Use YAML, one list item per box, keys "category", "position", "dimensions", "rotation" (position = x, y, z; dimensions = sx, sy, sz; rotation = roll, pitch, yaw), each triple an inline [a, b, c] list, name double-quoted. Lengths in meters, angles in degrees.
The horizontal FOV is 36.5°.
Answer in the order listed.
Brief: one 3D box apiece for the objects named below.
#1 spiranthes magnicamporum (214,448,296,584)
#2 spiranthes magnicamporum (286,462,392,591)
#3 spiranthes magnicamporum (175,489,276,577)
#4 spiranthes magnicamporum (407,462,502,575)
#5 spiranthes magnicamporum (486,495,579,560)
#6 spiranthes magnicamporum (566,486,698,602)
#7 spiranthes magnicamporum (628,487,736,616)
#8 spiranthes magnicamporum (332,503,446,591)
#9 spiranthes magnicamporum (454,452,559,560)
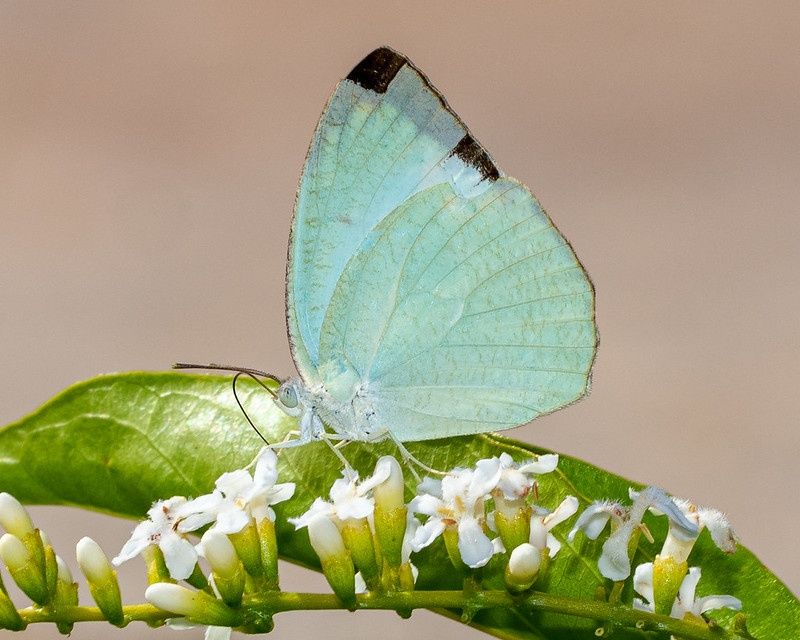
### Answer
- category: "spiranthes magnicamporum"
  position: [-0.370, 0.508, 3.061]
  dimensions: [0.179, 0.158, 0.268]
  rotation: [-14, -85, 36]
- category: "spiranthes magnicamporum"
  position: [-0.126, 0.485, 2.990]
  dimensions: [0.309, 0.311, 0.167]
  rotation: [-14, -15, 0]
- category: "spiranthes magnicamporum"
  position: [-0.438, 0.522, 3.045]
  dimensions: [0.182, 0.187, 0.102]
  rotation: [-1, -73, 42]
- category: "spiranthes magnicamporum"
  position: [0.154, 0.493, 3.059]
  dimensions: [0.247, 0.261, 0.120]
  rotation: [-17, -44, 27]
- category: "spiranthes magnicamporum"
  position: [0.365, 0.517, 3.109]
  dimensions: [0.175, 0.075, 0.175]
  rotation: [-2, 3, -10]
- category: "spiranthes magnicamporum"
  position: [0.624, 0.515, 3.125]
  dimensions: [0.307, 0.360, 0.110]
  rotation: [-6, -67, 56]
- category: "spiranthes magnicamporum"
  position: [0.679, 0.612, 3.104]
  dimensions: [0.247, 0.267, 0.219]
  rotation: [16, -4, 19]
- category: "spiranthes magnicamporum"
  position: [-0.026, 0.590, 3.165]
  dimensions: [0.192, 0.074, 0.213]
  rotation: [0, -44, -13]
- category: "spiranthes magnicamporum"
  position: [0.257, 0.478, 3.085]
  dimensions: [0.252, 0.252, 0.144]
  rotation: [0, -9, -36]
